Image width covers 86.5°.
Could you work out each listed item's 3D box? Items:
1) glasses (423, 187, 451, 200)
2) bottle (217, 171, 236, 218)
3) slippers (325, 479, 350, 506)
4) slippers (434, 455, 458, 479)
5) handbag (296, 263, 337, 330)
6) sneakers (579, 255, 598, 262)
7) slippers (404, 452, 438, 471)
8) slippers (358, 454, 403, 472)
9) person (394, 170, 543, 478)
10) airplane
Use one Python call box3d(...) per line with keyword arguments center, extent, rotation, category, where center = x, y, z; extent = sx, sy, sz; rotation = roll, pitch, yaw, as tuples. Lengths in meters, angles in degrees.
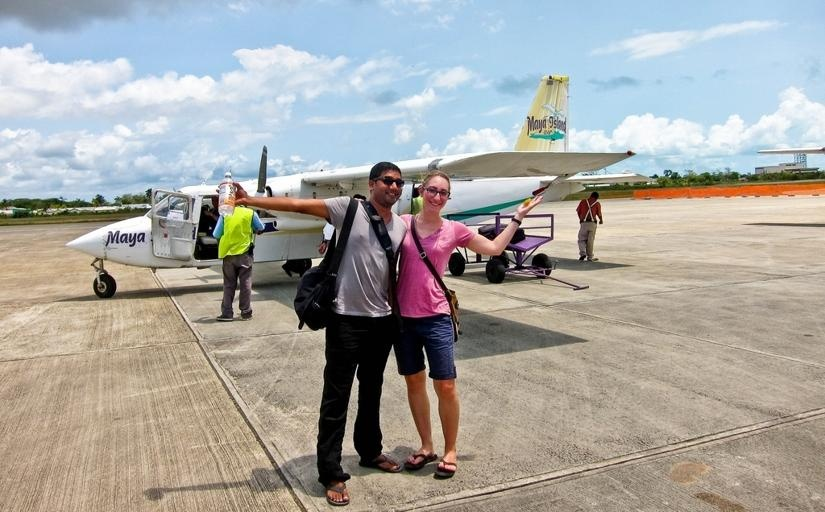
box3d(center=(0.223, -0.558, 3.852), extent=(0.221, 0.096, 0.081), rotation=(-7, 14, -25), category="glasses")
box3d(center=(-1.507, -0.476, 3.572), extent=(0.139, 0.287, 0.251), rotation=(-7, 14, -21), category="bottle")
box3d(center=(-0.619, 1.965, 3.618), extent=(0.192, 0.155, 0.148), rotation=(-4, 13, -9), category="slippers")
box3d(center=(0.294, 1.882, 3.878), extent=(0.190, 0.098, 0.413), rotation=(-2, -6, 3), category="slippers")
box3d(center=(-0.801, 0.369, 3.667), extent=(0.345, 0.559, 0.276), rotation=(-5, 14, -12), category="handbag")
box3d(center=(5.402, 0.108, 13.528), extent=(0.613, 0.210, 0.187), rotation=(-3, 15, -7), category="sneakers")
box3d(center=(0.074, 1.869, 4.001), extent=(0.303, 0.068, 0.119), rotation=(0, -7, -45), category="slippers")
box3d(center=(-0.304, 1.867, 3.980), extent=(0.360, 0.088, 0.153), rotation=(1, 4, 15), category="slippers")
box3d(center=(0.271, 0.611, 3.874), extent=(0.804, 2.626, 0.746), rotation=(2, 15, 15), category="person")
box3d(center=(-0.509, -0.537, 9.200), extent=(8.510, 2.791, 7.934), rotation=(-3, 6, -20), category="airplane")
